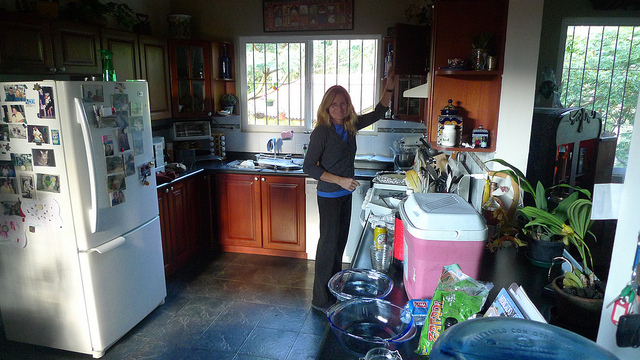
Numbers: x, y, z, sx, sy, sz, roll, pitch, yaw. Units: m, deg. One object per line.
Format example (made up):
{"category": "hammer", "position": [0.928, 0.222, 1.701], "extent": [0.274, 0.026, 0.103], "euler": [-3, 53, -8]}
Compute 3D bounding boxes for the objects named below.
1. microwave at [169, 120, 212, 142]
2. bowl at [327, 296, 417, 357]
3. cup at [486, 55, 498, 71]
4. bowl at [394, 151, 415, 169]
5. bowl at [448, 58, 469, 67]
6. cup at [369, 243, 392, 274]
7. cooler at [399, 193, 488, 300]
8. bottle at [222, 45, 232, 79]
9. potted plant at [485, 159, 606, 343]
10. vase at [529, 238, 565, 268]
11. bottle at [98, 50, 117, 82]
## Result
{"category": "microwave", "position": [-1.609, -0.622, 5.141], "extent": [0.487, 0.241, 0.129], "euler": [-11, 16, -42]}
{"category": "bowl", "position": [0.270, 0.785, 2.179], "extent": [0.445, 0.226, 0.242], "euler": [-3, 12, -12]}
{"category": "cup", "position": [1.373, -0.940, 3.265], "extent": [0.089, 0.130, 0.086], "euler": [-1, 12, 0]}
{"category": "bowl", "position": [0.984, -0.231, 4.769], "extent": [0.233, 0.189, 0.217], "euler": [0, 3, 0]}
{"category": "bowl", "position": [1.161, -0.984, 3.409], "extent": [0.159, 0.088, 0.208], "euler": [3, 12, 17]}
{"category": "cup", "position": [0.382, 0.542, 2.747], "extent": [0.195, 0.185, 0.183], "euler": [0, -17, 0]}
{"category": "cooler", "position": [0.662, 0.368, 2.656], "extent": [0.649, 0.701, 0.559], "euler": [1, 11, 2]}
{"category": "bottle", "position": [-1.199, -1.503, 5.187], "extent": [0.068, 0.420, 0.130], "euler": [11, 17, 42]}
{"category": "potted plant", "position": [1.492, 0.383, 2.476], "extent": [0.434, 0.889, 0.923], "euler": [-2, 12, -3]}
{"category": "vase", "position": [1.491, 0.477, 2.718], "extent": [0.205, 0.144, 0.205], "euler": [2, 2, 4]}
{"category": "bottle", "position": [-1.951, -1.048, 3.719], "extent": [0.106, 0.292, 0.331], "euler": [-7, 13, -26]}
